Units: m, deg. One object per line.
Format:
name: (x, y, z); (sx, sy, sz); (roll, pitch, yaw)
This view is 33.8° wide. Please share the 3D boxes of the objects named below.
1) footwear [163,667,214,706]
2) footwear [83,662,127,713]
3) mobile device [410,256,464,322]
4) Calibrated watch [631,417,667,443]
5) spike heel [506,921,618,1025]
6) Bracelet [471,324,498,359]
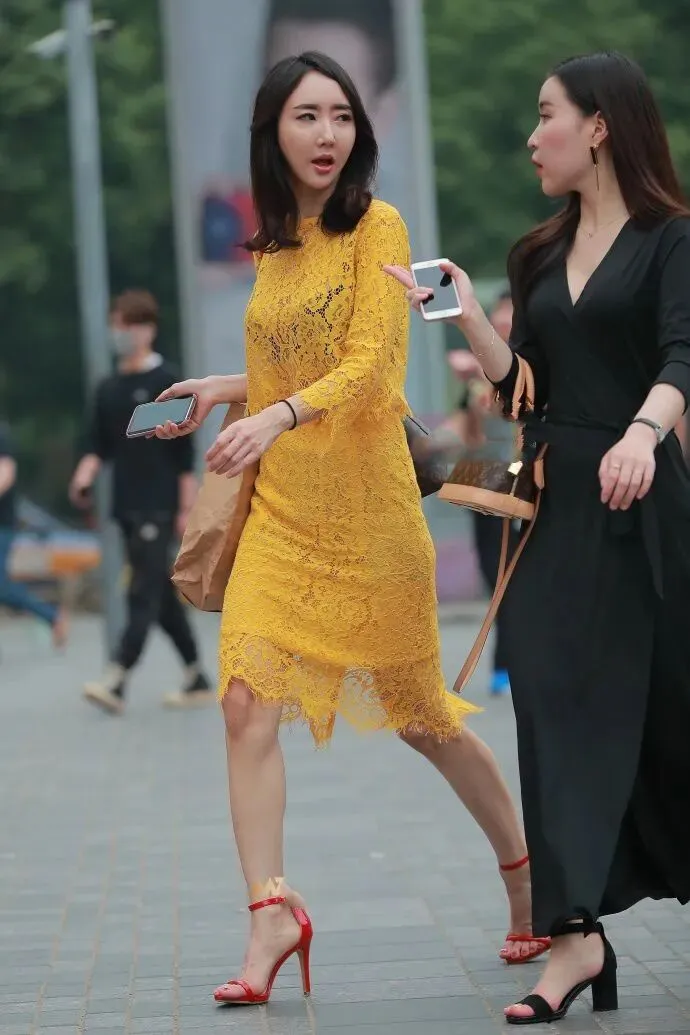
footwear: (-0.984, 1.113, 7.422); (0.412, 0.254, 0.149); (-12, -8, 7)
footwear: (-1.546, 1.092, 7.243); (0.248, 0.248, 0.235); (31, -12, 0)
mobile device: (0.178, -0.450, 2.245); (0.090, 0.127, 0.168); (-3, 0, 2)
Calibrated watch: (0.546, -0.160, 2.048); (0.057, 0.047, 0.042); (-3, 0, 12)
spike heel: (0.437, 0.936, 2.328); (0.260, 0.152, 0.097); (-2, -13, -15)
Bracelet: (0.286, -0.366, 2.354); (0.045, 0.058, 0.060); (-15, -14, 19)
